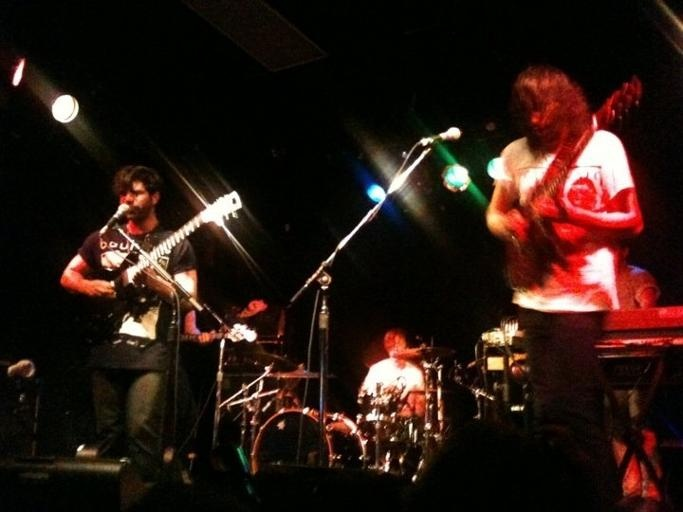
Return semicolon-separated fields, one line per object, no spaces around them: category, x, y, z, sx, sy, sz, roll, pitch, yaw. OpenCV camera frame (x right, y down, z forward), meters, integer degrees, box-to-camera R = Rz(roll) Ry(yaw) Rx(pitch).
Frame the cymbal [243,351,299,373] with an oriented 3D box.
cymbal;-0.762;1.119;7.301;0.559;0.081;0.533;5;-23;1

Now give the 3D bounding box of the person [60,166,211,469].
person;-1.477;0.331;4.871;0.983;2.183;0.524;-2;-25;18

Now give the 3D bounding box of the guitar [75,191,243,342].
guitar;-1.529;0.047;5.558;2.370;0.346;0.317;41;13;32
